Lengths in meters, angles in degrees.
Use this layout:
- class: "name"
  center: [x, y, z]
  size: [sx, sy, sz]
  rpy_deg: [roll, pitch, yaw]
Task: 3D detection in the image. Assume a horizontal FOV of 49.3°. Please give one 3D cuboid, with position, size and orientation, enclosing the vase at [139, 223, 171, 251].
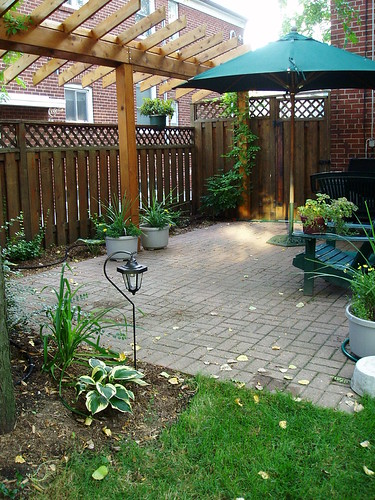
- class: "vase"
  center: [-0.475, -0.220, 6.468]
  size: [0.433, 0.295, 0.402]
  rpy_deg: [-1, 2, -21]

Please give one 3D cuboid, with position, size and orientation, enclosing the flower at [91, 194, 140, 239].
- class: "flower"
  center: [-1.171, -0.515, 6.377]
  size: [0.747, 0.520, 0.798]
  rpy_deg: [0, 6, -3]

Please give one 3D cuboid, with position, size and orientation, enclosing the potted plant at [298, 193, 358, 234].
- class: "potted plant"
  center: [1.389, -0.362, 4.114]
  size: [0.525, 0.391, 0.392]
  rpy_deg: [-2, 7, 7]

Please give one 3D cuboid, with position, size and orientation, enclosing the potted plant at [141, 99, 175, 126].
- class: "potted plant"
  center: [-0.661, -2.947, 8.764]
  size: [0.777, 0.722, 0.662]
  rpy_deg: [-1, 0, -8]

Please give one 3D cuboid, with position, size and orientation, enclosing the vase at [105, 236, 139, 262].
- class: "vase"
  center: [-0.936, -0.054, 5.805]
  size: [0.550, 0.385, 0.535]
  rpy_deg: [1, 4, -6]

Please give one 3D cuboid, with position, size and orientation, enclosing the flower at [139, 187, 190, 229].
- class: "flower"
  center: [-0.375, -0.638, 6.991]
  size: [0.874, 0.617, 0.918]
  rpy_deg: [-1, 5, -26]
